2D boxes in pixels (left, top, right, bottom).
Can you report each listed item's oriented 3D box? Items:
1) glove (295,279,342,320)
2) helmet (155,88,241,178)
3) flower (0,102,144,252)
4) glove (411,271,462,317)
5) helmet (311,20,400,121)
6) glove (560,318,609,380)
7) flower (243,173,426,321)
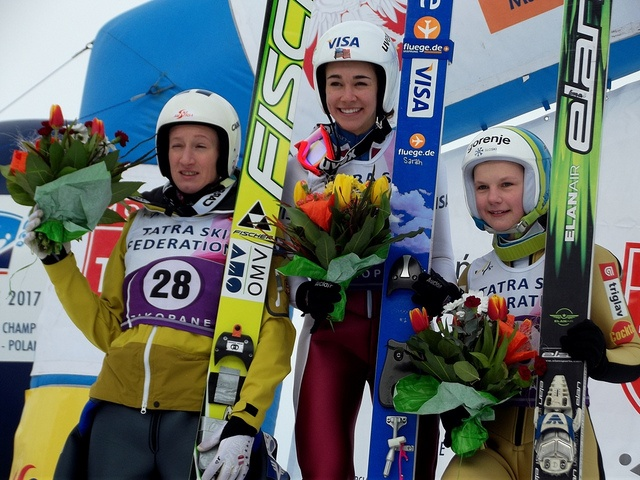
[{"bbox_3d":[-0.010,0.290,2.985,0.220,0.200,0.124,-1,-9,2],"label":"glove"},{"bbox_3d":[-0.660,-0.563,3.398,0.364,0.524,0.434,3,10,2],"label":"helmet"},{"bbox_3d":[-1.217,-0.304,2.995,0.656,0.722,0.263,2,-9,-18],"label":"flower"},{"bbox_3d":[0.567,0.264,3.023,0.206,0.221,0.085,30,-12,10],"label":"glove"},{"bbox_3d":[0.236,-0.964,3.529,0.420,0.642,0.485,-3,1,13],"label":"helmet"},{"bbox_3d":[1.219,0.522,2.887,0.182,0.264,0.088,-21,-5,-27],"label":"glove"},{"bbox_3d":[0.129,0.156,3.156,0.663,0.660,0.697,-3,-23,-2],"label":"flower"}]
